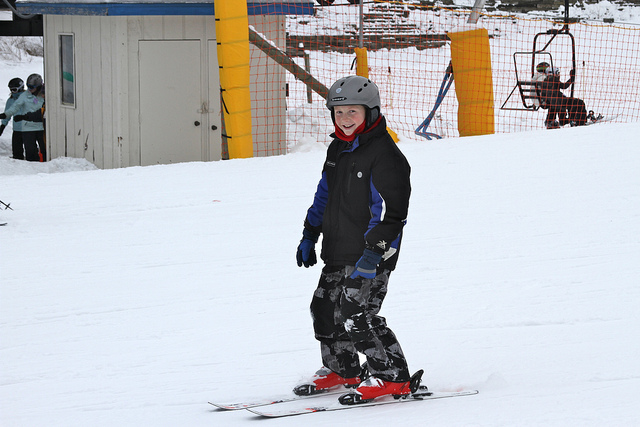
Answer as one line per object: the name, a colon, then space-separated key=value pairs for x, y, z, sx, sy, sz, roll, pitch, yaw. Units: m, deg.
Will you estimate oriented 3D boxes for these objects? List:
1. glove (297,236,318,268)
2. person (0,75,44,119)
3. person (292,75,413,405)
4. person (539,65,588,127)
glove: x=-0.117 y=0.343 z=7.269 sx=0.212 sy=0.225 sz=0.086 roll=14 pitch=3 yaw=14
person: x=-5.186 y=-2.012 z=14.665 sx=0.678 sy=0.721 sz=0.418 roll=-4 pitch=9 yaw=-18
person: x=0.312 y=0.245 z=7.010 sx=0.839 sy=2.704 sz=0.426 roll=3 pitch=9 yaw=27
person: x=4.220 y=-2.054 z=14.881 sx=0.879 sy=1.039 sz=0.919 roll=5 pitch=10 yaw=40
